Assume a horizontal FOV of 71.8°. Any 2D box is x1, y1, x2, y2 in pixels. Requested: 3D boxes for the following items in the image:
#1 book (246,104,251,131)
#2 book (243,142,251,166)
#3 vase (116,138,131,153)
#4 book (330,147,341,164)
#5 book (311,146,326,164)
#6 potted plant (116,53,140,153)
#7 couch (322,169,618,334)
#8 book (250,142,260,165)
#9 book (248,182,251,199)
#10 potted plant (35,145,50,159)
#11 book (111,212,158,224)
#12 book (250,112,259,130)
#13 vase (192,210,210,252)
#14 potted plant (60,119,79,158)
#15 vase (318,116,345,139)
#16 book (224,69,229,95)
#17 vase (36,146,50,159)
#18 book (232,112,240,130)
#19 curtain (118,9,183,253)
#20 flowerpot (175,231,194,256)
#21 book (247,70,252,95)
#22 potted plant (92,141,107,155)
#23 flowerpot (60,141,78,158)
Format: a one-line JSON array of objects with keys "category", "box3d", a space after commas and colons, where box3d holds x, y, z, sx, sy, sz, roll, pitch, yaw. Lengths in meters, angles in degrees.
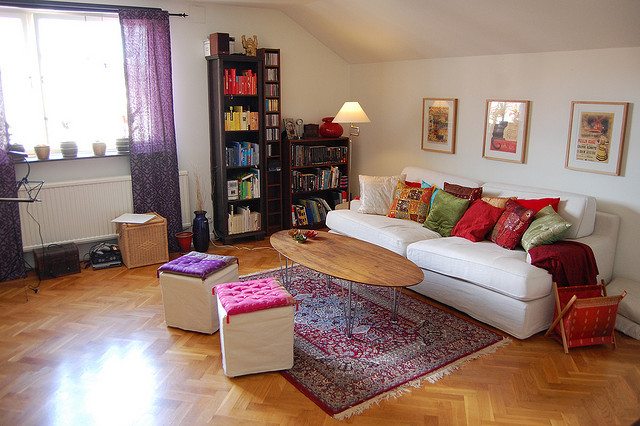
[{"category": "book", "box3d": [-0.986, -1.299, 6.098, 0.119, 0.320, 0.347, -1, 7, -12]}, {"category": "book", "box3d": [-0.999, -0.810, 6.179, 0.137, 0.305, 0.063, -14, 20, -42]}, {"category": "vase", "box3d": [-2.529, -0.863, 5.755, 0.210, 0.154, 0.202, 0, 8, -6]}, {"category": "book", "box3d": [0.222, -0.902, 6.836, 0.276, 0.253, 0.196, 2, 13, 1]}, {"category": "book", "box3d": [-0.046, -0.866, 6.703, 0.311, 0.290, 0.221, -1, 15, -10]}, {"category": "potted plant", "box3d": [-2.521, -1.392, 5.668, 0.275, 1.222, 0.419, -12, 18, -36]}, {"category": "couch", "box3d": [1.760, 0.342, 5.071, 1.388, 1.281, 2.593, -14, 19, -42]}, {"category": "book", "box3d": [-0.903, -0.834, 6.235, 0.053, 0.282, 0.128, -9, 17, -30]}, {"category": "book", "box3d": [-0.991, -0.318, 6.239, 0.033, 0.231, 0.035, 0, 15, 3]}, {"category": "potted plant", "box3d": [-3.330, -0.730, 5.308, 0.146, 0.125, 0.157, 1, 5, 0]}, {"category": "book", "box3d": [-2.361, 0.076, 5.588, 0.503, 0.074, 0.406, 4, 14, 17]}, {"category": "book", "box3d": [-0.900, -1.270, 6.121, 0.119, 0.230, 0.054, -3, 15, -9]}, {"category": "vase", "box3d": [-1.643, 0.241, 6.065, 0.216, 0.563, 0.281, -5, 15, -16]}, {"category": "potted plant", "box3d": [-3.151, -0.933, 5.525, 0.180, 0.452, 0.316, -9, 16, -28]}, {"category": "vase", "box3d": [0.191, -1.280, 6.664, 0.331, 0.265, 0.324, -1, 7, 0]}, {"category": "book", "box3d": [-1.242, -1.743, 5.901, 0.041, 0.316, 0.078, -4, 15, -11]}, {"category": "vase", "box3d": [-3.325, -0.722, 5.327, 0.145, 0.141, 0.145, -6, 19, -36]}, {"category": "book", "box3d": [-1.132, -1.241, 6.021, 0.171, 0.217, 0.228, -1, 6, -10]}, {"category": "curtain", "box3d": [-2.162, -0.977, 5.730, 0.630, 3.116, 0.269, -5, 15, -17]}, {"category": "flowerpot", "box3d": [-1.815, 0.405, 5.944, 0.312, 0.327, 0.306, 0, 5, 0]}, {"category": "book", "box3d": [-0.954, -1.761, 5.990, 0.049, 0.305, 0.085, 12, 19, 41]}, {"category": "potted plant", "box3d": [-2.772, -0.826, 5.584, 0.158, 0.147, 0.158, 7, 8, 32]}, {"category": "flowerpot", "box3d": [-3.087, -0.773, 5.436, 0.204, 0.182, 0.198, -1, 6, -14]}]
